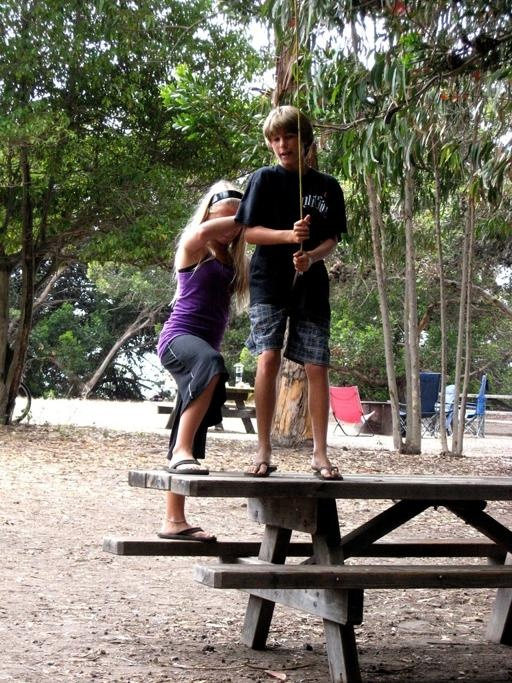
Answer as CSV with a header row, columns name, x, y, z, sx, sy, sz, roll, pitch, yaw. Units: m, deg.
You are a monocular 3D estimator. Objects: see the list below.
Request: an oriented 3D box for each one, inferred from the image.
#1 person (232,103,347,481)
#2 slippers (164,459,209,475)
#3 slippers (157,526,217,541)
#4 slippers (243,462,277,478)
name,x,y,z,sx,sy,sz,roll,pitch,yaw
person,0.149,-0.213,2.824,0.478,1.413,0.544,3,-1,-15
slippers,-0.242,0.444,2.602,0.136,0.050,0.234,3,-2,-7
slippers,-0.265,0.724,2.815,0.212,0.051,0.077,-1,-5,2
slippers,0.024,0.466,2.634,0.131,0.045,0.044,2,-3,-15
